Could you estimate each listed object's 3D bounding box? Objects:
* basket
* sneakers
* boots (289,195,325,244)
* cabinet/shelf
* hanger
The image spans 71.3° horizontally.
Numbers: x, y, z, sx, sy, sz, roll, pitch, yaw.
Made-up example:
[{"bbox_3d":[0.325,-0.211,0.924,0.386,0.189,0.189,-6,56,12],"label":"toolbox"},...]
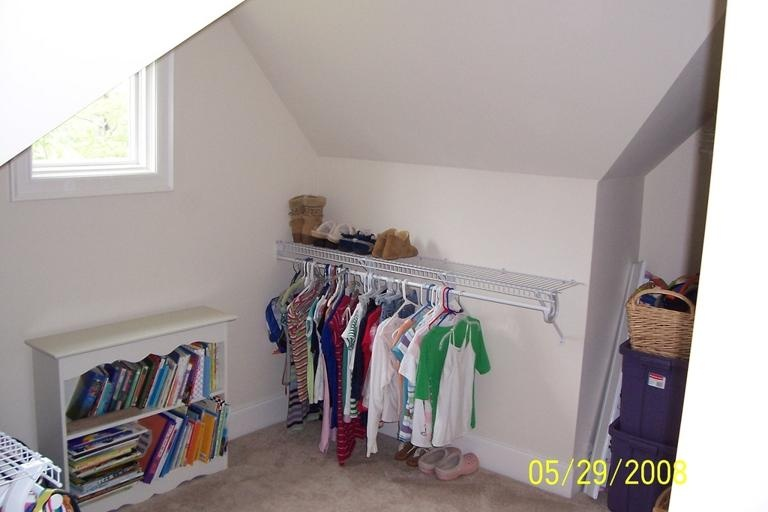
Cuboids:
[{"bbox_3d":[1.325,0.306,2.558,0.320,0.314,0.235,6,-3,37],"label":"basket"},{"bbox_3d":[-0.117,-0.106,3.219,0.614,0.165,0.296,9,15,32],"label":"sneakers"},{"bbox_3d":[-0.488,-0.232,3.338,0.238,0.327,0.283,4,8,18],"label":"boots"},{"bbox_3d":[-1.204,0.713,2.504,0.278,0.749,0.885,12,17,43],"label":"cabinet/shelf"},{"bbox_3d":[-0.224,0.297,3.113,0.884,0.500,0.449,7,14,23],"label":"hanger"}]
